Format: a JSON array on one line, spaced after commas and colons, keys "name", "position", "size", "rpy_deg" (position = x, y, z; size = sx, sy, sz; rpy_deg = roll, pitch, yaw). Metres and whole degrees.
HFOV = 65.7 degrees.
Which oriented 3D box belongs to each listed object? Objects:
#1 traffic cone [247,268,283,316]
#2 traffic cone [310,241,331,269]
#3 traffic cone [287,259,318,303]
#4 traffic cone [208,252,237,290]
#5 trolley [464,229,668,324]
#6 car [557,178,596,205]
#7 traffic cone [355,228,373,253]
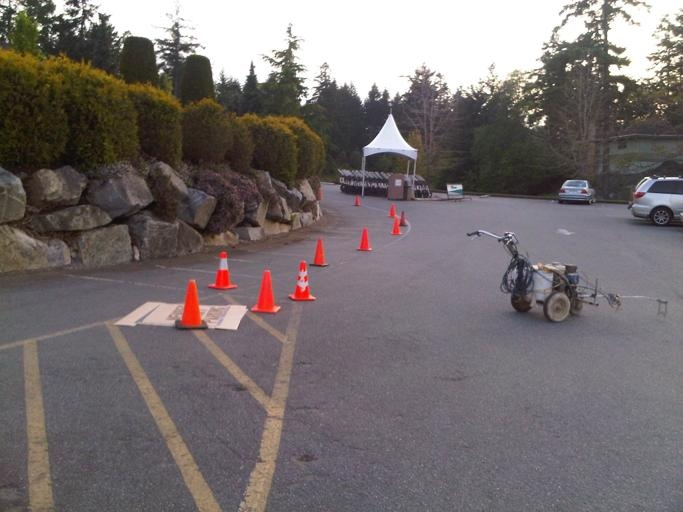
[{"name": "traffic cone", "position": [-2.288, 0.709, 8.067], "size": [0.550, 0.689, 0.604], "rpy_deg": [7, 7, 36]}, {"name": "traffic cone", "position": [-0.553, -0.085, 13.822], "size": [0.528, 0.928, 0.582], "rpy_deg": [-2, 9, -4]}, {"name": "traffic cone", "position": [-0.731, 0.479, 10.119], "size": [0.566, 0.928, 0.620], "rpy_deg": [0, 7, -2]}, {"name": "traffic cone", "position": [-2.360, 0.310, 10.936], "size": [0.606, 0.951, 0.658], "rpy_deg": [1, 10, 2]}, {"name": "trolley", "position": [3.980, 0.330, 9.320], "size": [2.875, 1.559, 1.194], "rpy_deg": [-4, 11, -26]}, {"name": "car", "position": [18.189, -4.941, 40.764], "size": [1.919, 1.773, 2.684], "rpy_deg": [11, 15, 42]}, {"name": "traffic cone", "position": [0.695, -0.537, 16.783], "size": [0.571, 0.904, 0.609], "rpy_deg": [3, 10, 28]}]
